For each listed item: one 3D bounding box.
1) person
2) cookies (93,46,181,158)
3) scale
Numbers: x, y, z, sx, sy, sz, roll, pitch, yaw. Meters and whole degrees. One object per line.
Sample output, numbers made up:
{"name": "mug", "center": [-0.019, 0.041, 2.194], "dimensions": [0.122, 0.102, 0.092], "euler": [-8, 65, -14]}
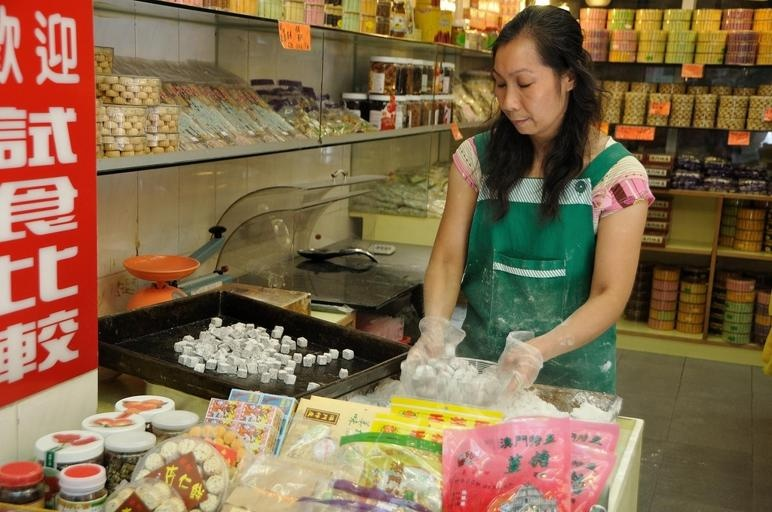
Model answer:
{"name": "person", "center": [0.464, -0.183, 1.748], "dimensions": [0.665, 1.182, 0.440], "euler": [9, 18, 27]}
{"name": "cookies", "center": [-0.858, -0.495, 1.864], "dimensions": [0.266, 0.397, 0.210], "euler": [-10, 20, -35]}
{"name": "scale", "center": [-0.910, 0.072, 2.226], "dimensions": [0.238, 0.167, 0.239], "euler": [2, 11, -5]}
